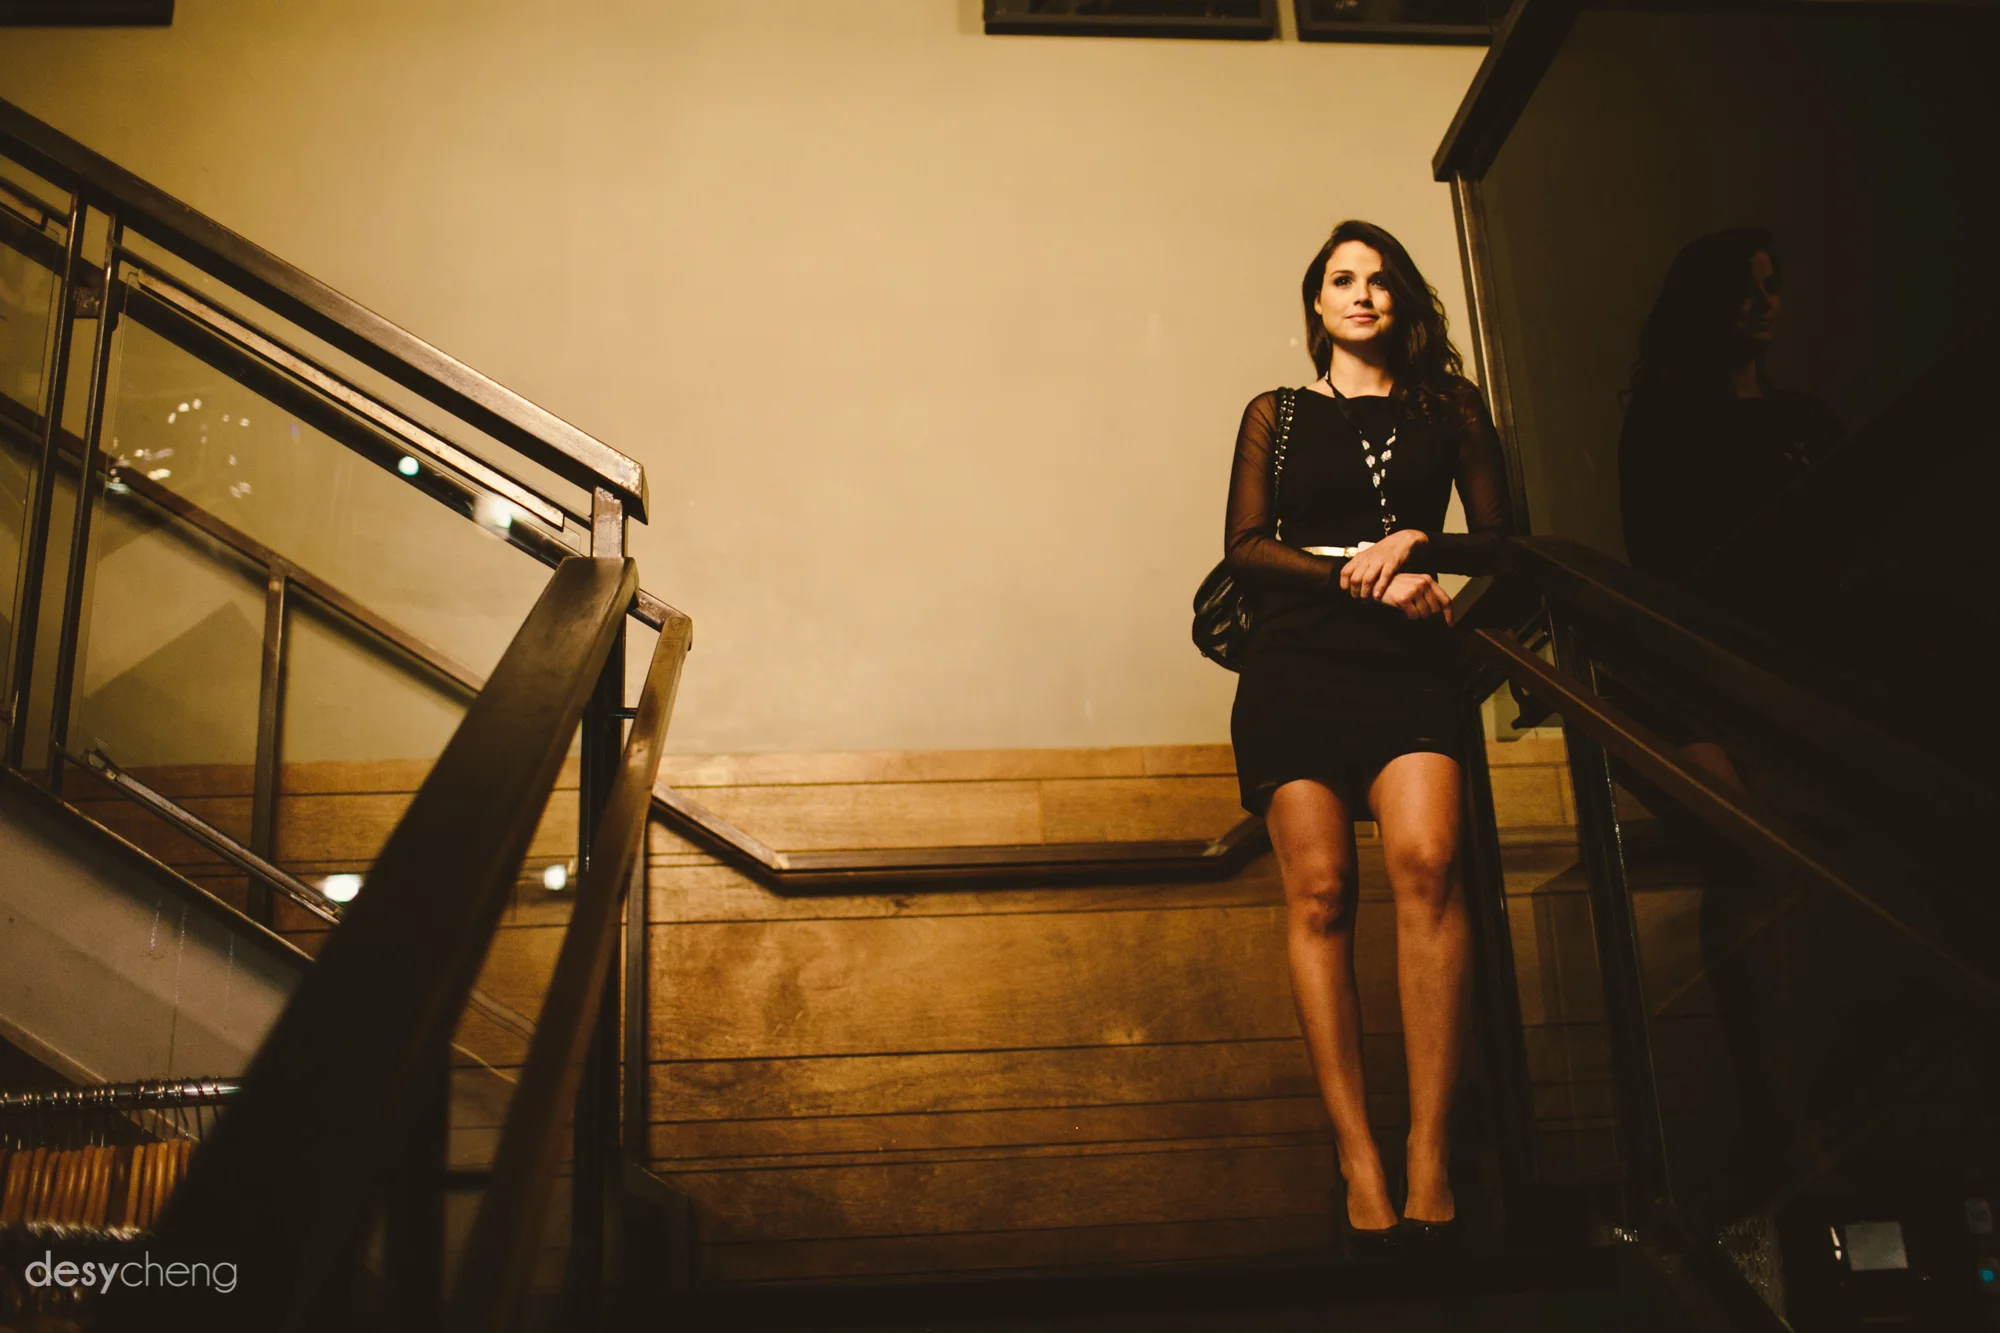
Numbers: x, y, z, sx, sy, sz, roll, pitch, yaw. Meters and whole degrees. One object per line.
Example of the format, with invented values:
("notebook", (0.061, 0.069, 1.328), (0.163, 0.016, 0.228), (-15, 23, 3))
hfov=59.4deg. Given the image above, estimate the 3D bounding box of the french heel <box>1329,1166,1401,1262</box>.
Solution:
("french heel", (0.721, 1.083, 3.439), (0.074, 0.233, 0.094), (-6, -63, 7))
